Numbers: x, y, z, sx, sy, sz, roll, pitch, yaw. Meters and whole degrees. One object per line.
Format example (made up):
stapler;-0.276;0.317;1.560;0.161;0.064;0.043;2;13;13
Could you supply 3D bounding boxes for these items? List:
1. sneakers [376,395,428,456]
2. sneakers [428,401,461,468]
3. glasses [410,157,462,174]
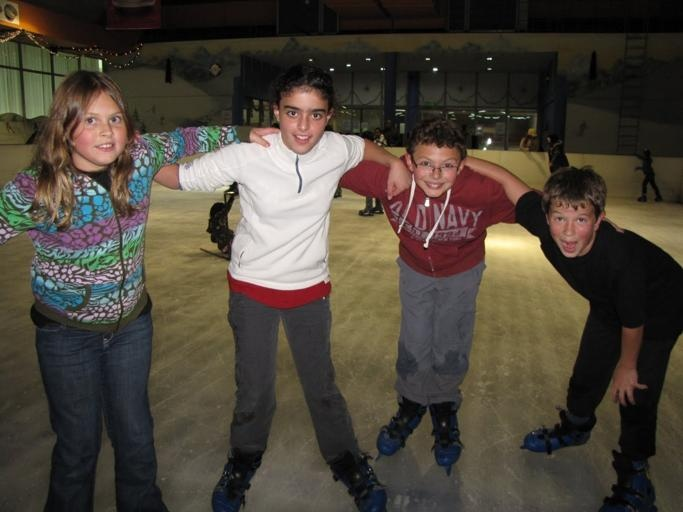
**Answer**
sneakers;0.381;1.093;2.984;0.460;0.178;0.183;-43;-2;-43
sneakers;0.648;1.118;2.827;0.180;0.356;0.096;-4;-30;8
glasses;0.536;-0.511;2.578;0.248;0.074;0.084;3;13;1
